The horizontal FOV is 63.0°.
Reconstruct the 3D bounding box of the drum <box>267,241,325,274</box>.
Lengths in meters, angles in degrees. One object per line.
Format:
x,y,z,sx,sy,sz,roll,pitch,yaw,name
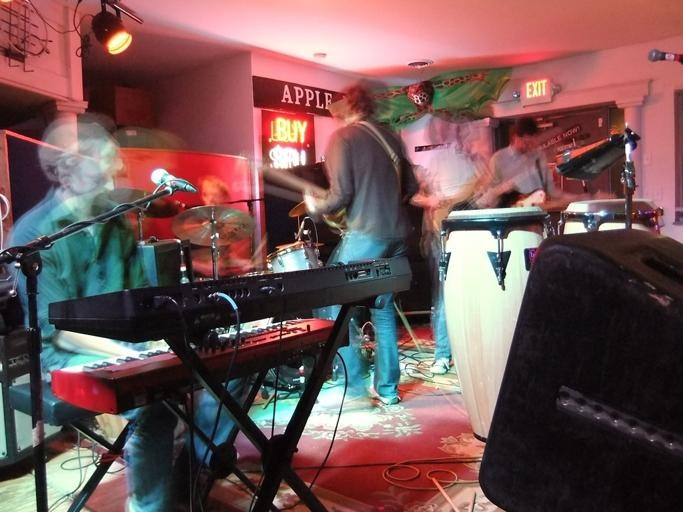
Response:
-0.226,0.035,3.003,0.201,0.123,0.203,-2,-6,0,drum

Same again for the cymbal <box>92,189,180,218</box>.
-1.143,-0.320,3.272,0.291,0.071,0.300,5,27,41,cymbal

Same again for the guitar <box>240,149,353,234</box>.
-0.734,-0.644,5.568,0.869,0.857,0.207,5,4,38,guitar

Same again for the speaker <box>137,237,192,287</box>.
-0.800,0.034,2.519,0.171,0.272,0.196,5,10,30,speaker
